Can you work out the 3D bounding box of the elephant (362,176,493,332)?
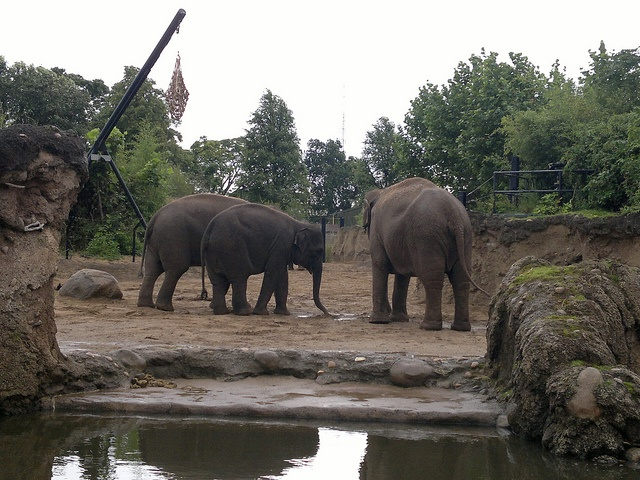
[{"bbox_3d":[1.355,0.238,13.670,1.215,2.334,3.175,3,-3,-35],"label":"elephant"}]
